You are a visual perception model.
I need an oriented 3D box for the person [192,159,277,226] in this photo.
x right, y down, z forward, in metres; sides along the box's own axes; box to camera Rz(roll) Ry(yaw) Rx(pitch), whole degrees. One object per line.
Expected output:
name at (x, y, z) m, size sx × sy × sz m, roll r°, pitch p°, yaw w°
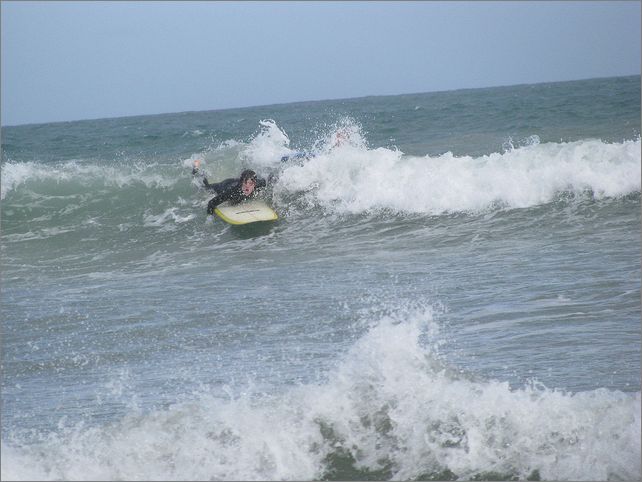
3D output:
person at (-1.713, -0.882, 19.705) m, size 0.817 × 0.762 × 1.866 m, roll -11°, pitch 21°, yaw -25°

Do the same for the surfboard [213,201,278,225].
surfboard at (-1.478, -0.525, 19.435) m, size 1.047 × 0.332 × 1.204 m, roll -10°, pitch 11°, yaw -14°
